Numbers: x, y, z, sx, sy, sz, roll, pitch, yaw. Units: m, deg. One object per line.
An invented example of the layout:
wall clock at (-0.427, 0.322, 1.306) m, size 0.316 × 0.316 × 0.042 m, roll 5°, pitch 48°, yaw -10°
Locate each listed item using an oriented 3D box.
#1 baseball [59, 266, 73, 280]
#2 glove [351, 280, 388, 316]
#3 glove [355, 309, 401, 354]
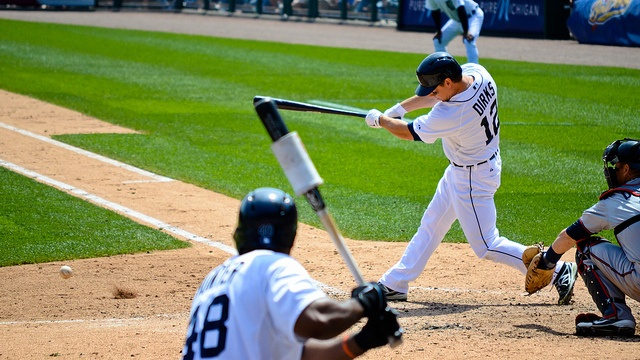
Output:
baseball at (-4.109, 1.476, 17.699) m, size 0.210 × 0.188 × 0.135 m, roll 2°, pitch 11°, yaw -12°
glove at (0.695, 1.565, 15.055) m, size 0.515 × 0.436 × 0.401 m, roll -37°, pitch 34°, yaw -27°
glove at (0.767, 2.052, 14.920) m, size 0.756 × 0.379 × 0.302 m, roll -21°, pitch -23°, yaw -9°
